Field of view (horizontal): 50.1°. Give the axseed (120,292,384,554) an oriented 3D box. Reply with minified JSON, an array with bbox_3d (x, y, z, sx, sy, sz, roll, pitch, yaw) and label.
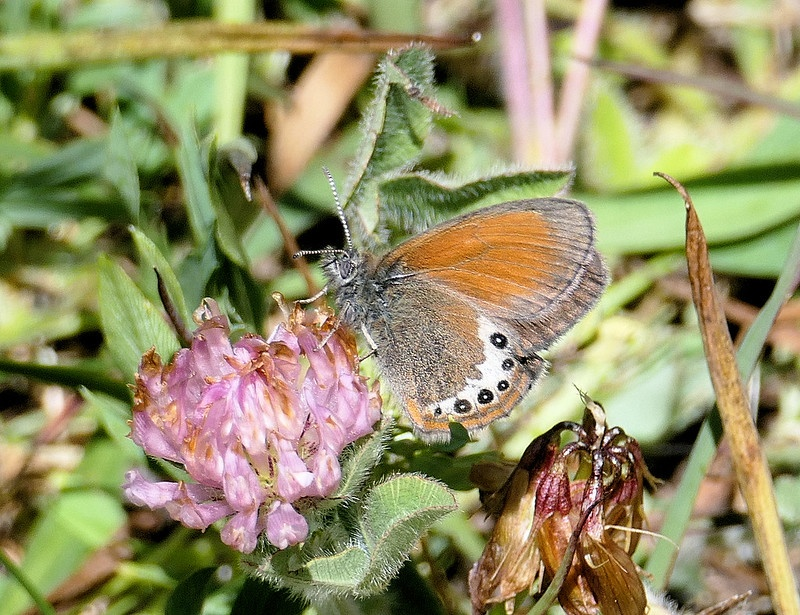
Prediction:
[{"bbox_3d":[-0.375,0.315,2.351,0.626,0.459,0.652,20,76,8],"label":"axseed"}]
